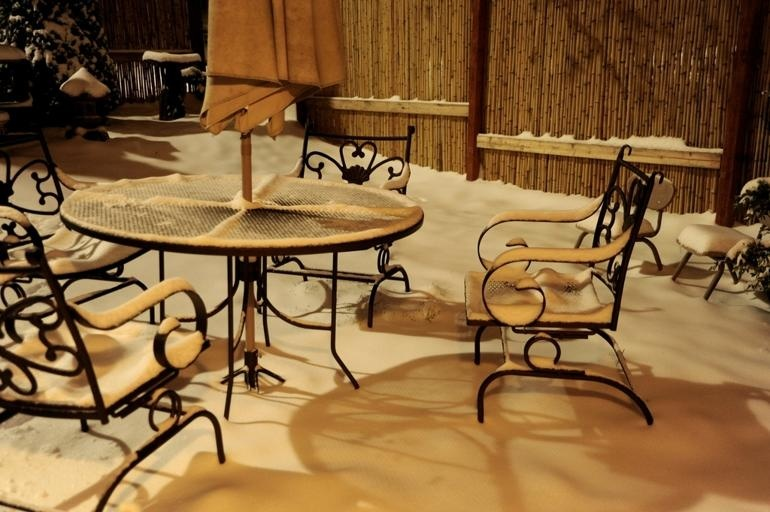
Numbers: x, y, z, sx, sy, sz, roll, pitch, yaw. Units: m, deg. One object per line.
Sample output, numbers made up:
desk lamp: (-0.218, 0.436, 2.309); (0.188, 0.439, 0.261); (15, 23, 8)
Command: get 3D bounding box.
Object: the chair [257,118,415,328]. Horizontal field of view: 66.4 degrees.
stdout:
chair: (-0.315, -0.233, 4.730); (1.026, 1.015, 1.438); (7, 43, 16)
